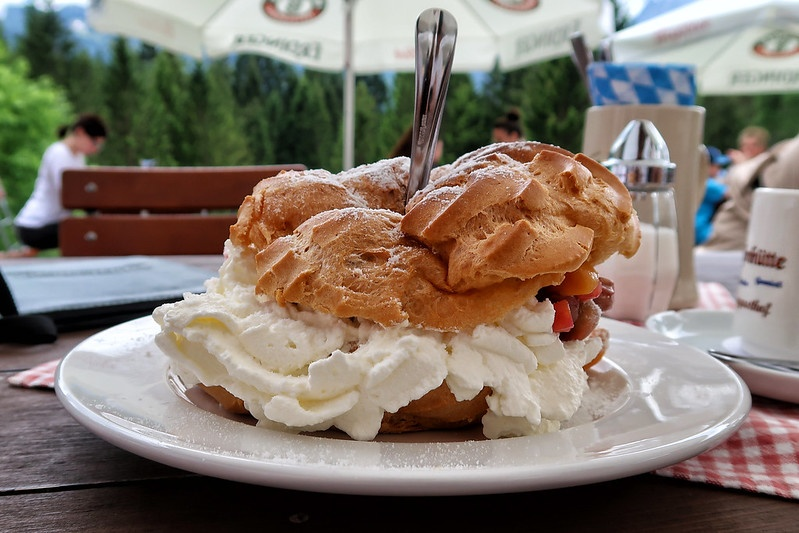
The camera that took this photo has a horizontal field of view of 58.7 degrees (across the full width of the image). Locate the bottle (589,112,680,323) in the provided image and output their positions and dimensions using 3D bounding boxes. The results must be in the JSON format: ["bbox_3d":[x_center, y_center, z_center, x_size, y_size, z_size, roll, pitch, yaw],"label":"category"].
[{"bbox_3d":[0.506,-0.104,1.561,0.208,0.435,0.184,4,15,17],"label":"bottle"}]

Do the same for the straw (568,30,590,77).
[{"bbox_3d":[0.400,-0.464,1.578,0.026,0.108,0.032,-40,36,-13],"label":"straw"}]

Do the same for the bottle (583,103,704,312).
[{"bbox_3d":[0.682,-0.147,1.785,0.336,0.488,0.308,-11,18,4],"label":"bottle"}]

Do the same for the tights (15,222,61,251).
[{"bbox_3d":[-1.605,-0.130,3.180,0.198,0.089,0.215,-1,-3,-2],"label":"tights"}]
